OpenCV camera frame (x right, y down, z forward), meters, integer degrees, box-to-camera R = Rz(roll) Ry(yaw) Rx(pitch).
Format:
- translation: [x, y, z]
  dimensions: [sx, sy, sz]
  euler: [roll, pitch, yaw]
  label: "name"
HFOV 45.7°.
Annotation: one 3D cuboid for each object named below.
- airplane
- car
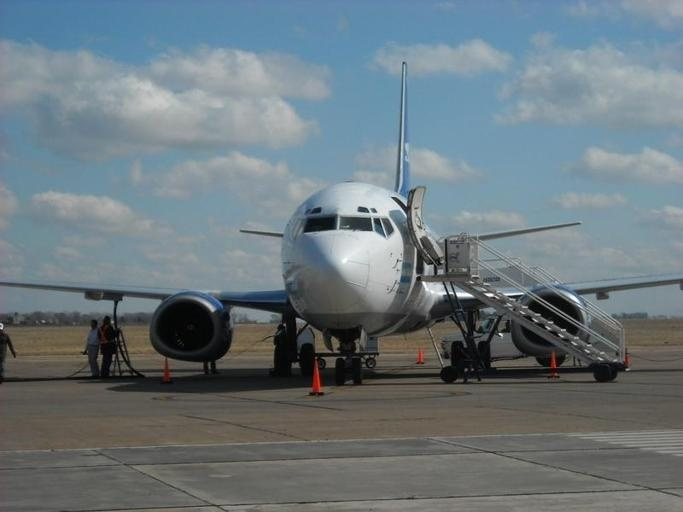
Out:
- translation: [0.689, 1.574, 21.730]
  dimensions: [13.786, 5.485, 10.804]
  euler: [-1, -7, 8]
  label: "airplane"
- translation: [6.028, 2.796, 26.679]
  dimensions: [3.809, 1.632, 2.441]
  euler: [3, -5, -2]
  label: "car"
